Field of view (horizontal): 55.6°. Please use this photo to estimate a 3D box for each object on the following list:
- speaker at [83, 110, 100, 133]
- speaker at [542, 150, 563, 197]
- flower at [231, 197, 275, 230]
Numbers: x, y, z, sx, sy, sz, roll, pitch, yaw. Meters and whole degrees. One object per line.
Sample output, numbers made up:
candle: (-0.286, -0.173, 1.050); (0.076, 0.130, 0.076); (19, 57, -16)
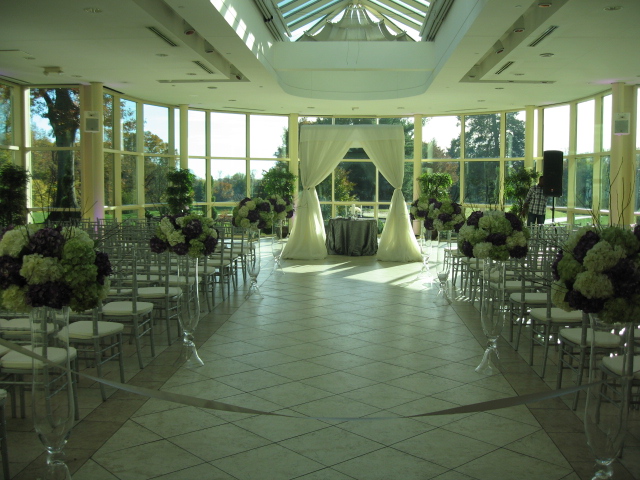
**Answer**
speaker: (-4.620, -2.434, 12.354); (0.312, 0.394, 0.385); (0, 5, -21)
speaker: (4.365, -1.259, 11.377); (0.339, 0.874, 0.324); (3, 5, 18)
flower: (-0.950, -0.417, 8.948); (0.482, 0.419, 0.503); (1, 6, 13)
